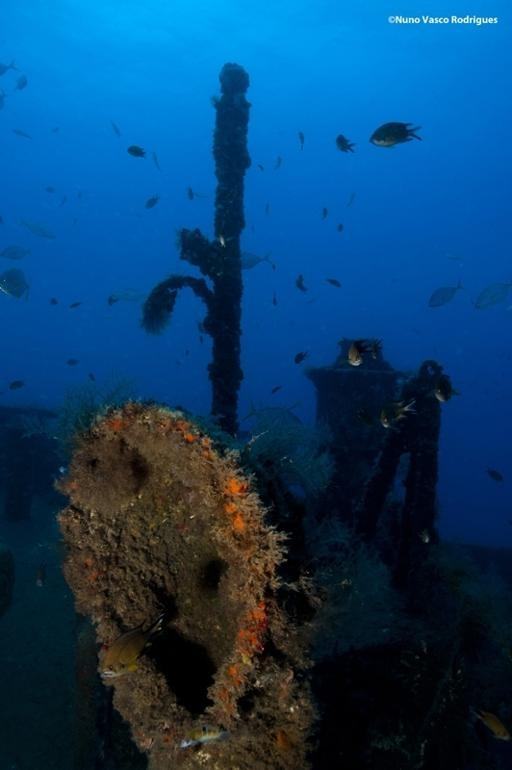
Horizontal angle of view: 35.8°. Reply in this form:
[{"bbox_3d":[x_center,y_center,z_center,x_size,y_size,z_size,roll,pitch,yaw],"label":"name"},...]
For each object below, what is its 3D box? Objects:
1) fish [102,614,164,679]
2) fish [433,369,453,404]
[{"bbox_3d":[-1.450,3.084,9.256,0.869,0.451,0.248,-33,41,-7],"label":"fish"},{"bbox_3d":[2.853,0.017,12.061,0.286,0.449,0.419,10,-8,10],"label":"fish"}]
